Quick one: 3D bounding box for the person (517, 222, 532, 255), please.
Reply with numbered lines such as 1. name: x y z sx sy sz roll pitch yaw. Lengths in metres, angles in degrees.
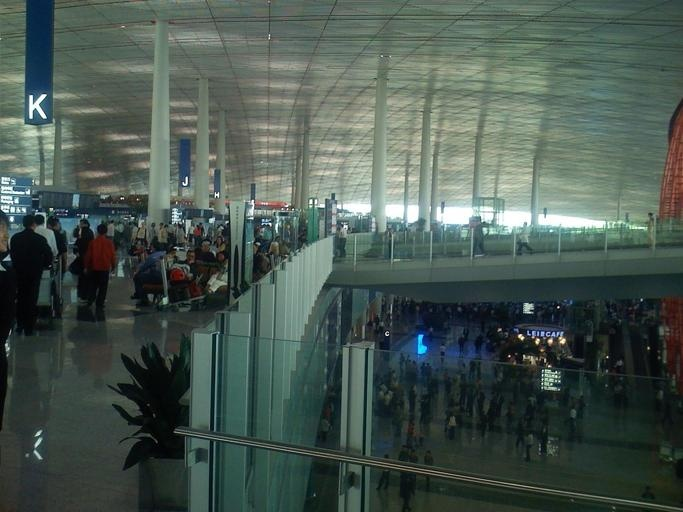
1. person: 6.775 -0.560 24.767 0.608 1.092 0.364 4 5 9
